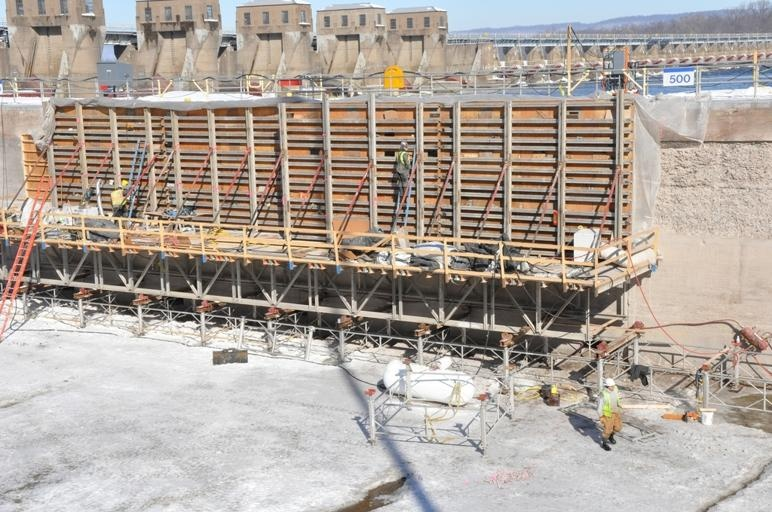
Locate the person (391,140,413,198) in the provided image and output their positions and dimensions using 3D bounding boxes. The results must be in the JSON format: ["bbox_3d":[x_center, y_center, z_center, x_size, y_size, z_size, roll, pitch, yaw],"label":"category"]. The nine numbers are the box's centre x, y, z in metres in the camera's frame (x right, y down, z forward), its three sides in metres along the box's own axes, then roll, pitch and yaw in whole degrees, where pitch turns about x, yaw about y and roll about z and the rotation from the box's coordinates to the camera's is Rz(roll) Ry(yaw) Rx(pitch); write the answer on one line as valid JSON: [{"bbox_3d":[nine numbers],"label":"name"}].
[{"bbox_3d":[0.691,-3.511,41.264,0.737,2.506,0.959,3,9,0],"label":"person"}]

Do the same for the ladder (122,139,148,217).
[{"bbox_3d":[-11.380,-3.461,44.854,1.012,3.452,1.613,4,9,4],"label":"ladder"}]
